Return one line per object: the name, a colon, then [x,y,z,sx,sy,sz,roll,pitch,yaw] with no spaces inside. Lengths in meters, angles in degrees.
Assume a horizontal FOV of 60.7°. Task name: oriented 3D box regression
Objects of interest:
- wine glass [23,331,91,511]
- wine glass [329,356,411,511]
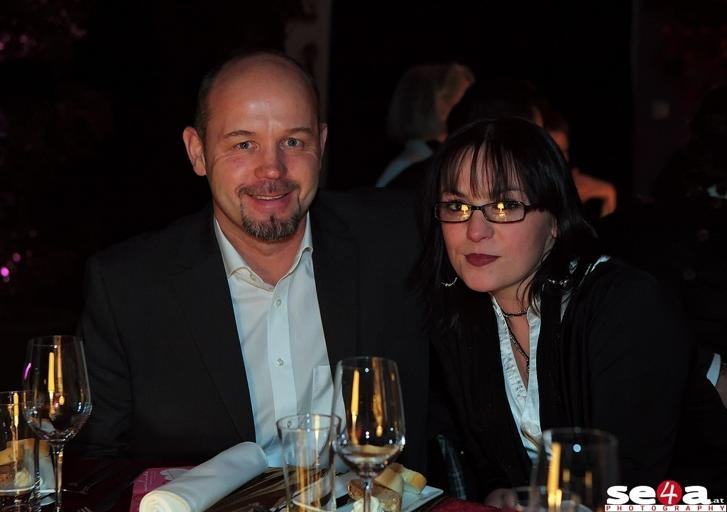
wine glass: [-0.938,0.496,1.878,0.164,0.505,0.138,-7,-7,20]
wine glass: [0.014,0.495,1.741,0.196,0.413,0.098,-4,-7,-4]
